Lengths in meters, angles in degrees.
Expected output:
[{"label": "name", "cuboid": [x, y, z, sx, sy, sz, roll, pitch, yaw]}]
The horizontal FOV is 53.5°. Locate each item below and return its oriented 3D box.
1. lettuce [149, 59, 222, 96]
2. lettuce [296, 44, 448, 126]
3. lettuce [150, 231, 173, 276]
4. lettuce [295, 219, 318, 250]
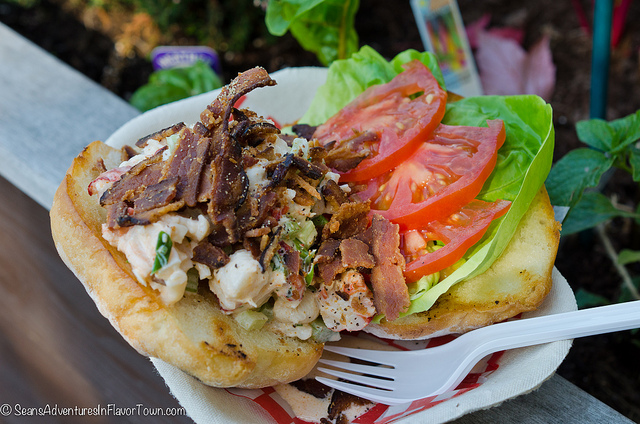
[{"label": "lettuce", "cuboid": [-0.708, -0.735, 3.475, 0.247, 0.096, 0.248, 35, 59, 20]}, {"label": "lettuce", "cuboid": [0.195, -0.504, 2.726, 0.493, 0.160, 0.366, -30, 50, -1]}, {"label": "lettuce", "cuboid": [-0.500, 0.128, 1.993, 0.054, 0.032, 0.139, 13, 86, -18]}, {"label": "lettuce", "cuboid": [-0.047, 0.075, 2.186, 0.027, 0.088, 0.089, 2, 44, 51]}]
